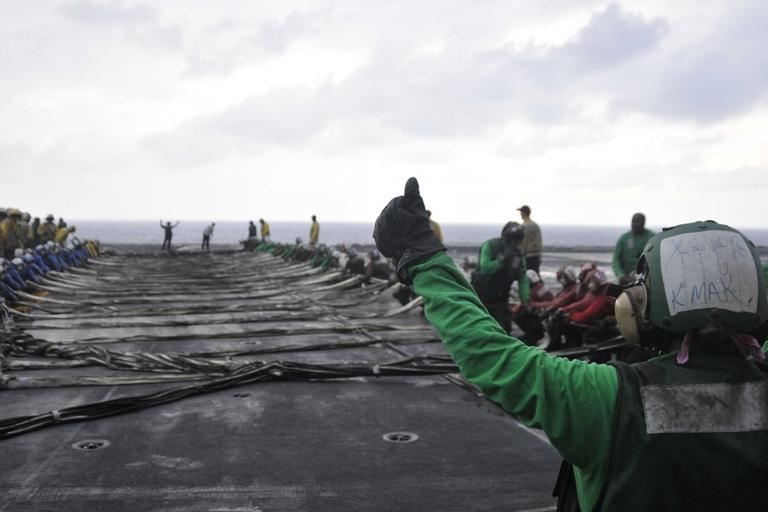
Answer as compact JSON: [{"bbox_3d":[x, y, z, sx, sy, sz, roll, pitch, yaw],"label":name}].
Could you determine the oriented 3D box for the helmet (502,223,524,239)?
[{"bbox_3d":[1.826,-0.366,7.918,0.228,0.226,0.267,6,-11,-38],"label":"helmet"}]

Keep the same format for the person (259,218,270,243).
[{"bbox_3d":[-7.763,-1.690,36.369,0.401,1.400,2.579,0,3,-16],"label":"person"}]
